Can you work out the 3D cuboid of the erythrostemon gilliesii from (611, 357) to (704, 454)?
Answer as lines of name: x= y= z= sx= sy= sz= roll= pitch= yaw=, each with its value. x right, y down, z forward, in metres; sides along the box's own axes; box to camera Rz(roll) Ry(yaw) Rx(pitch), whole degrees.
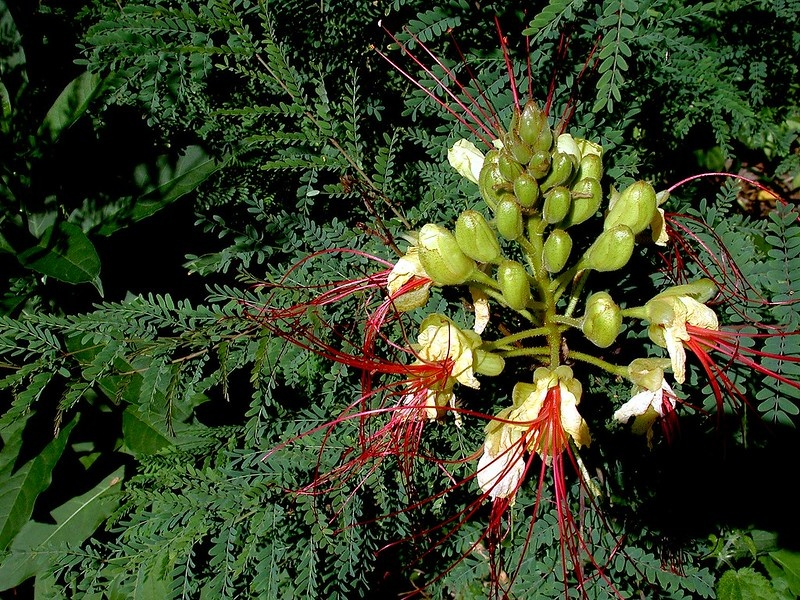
erythrostemon gilliesii: x=0.893 y=0.326 z=2.574 sx=0.327 sy=0.309 sz=0.168 roll=-49 pitch=29 yaw=30

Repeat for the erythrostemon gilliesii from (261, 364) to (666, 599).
erythrostemon gilliesii: x=0.287 y=0.689 z=2.850 sx=1.008 sy=1.045 sz=0.739 roll=1 pitch=76 yaw=10

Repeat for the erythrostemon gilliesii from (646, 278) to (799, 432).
erythrostemon gilliesii: x=1.145 y=0.226 z=2.654 sx=0.533 sy=0.294 sz=0.498 roll=19 pitch=77 yaw=2

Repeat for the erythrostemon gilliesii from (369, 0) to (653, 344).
erythrostemon gilliesii: x=0.474 y=-0.341 z=2.766 sx=0.957 sy=0.944 sz=1.270 roll=-20 pitch=74 yaw=4
